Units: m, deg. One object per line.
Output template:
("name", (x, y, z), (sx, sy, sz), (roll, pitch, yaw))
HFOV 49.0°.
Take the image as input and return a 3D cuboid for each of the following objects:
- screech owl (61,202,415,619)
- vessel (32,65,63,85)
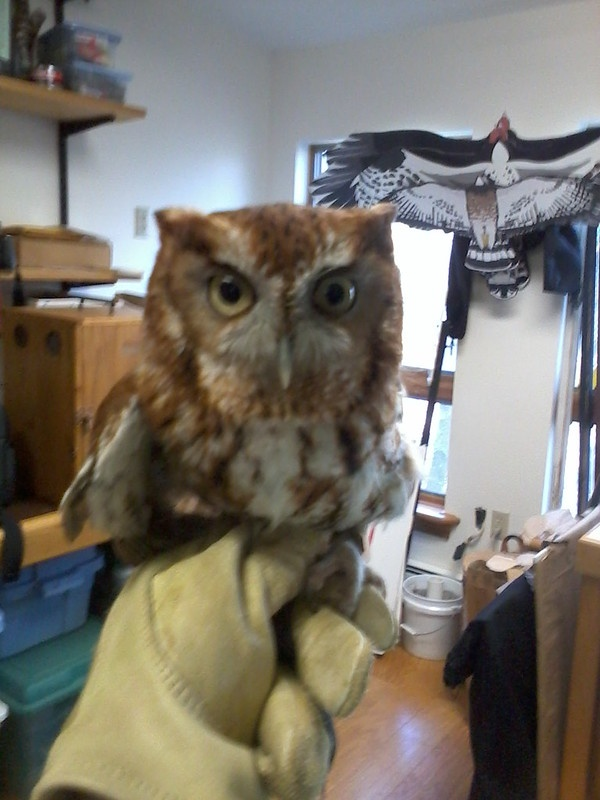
("screech owl", (-0.033, 0.011, 0.384), (0.200, 0.235, 0.171), (0, 12, -19))
("vessel", (-0.191, -0.242, 0.488), (0.022, 0.010, 0.029), (3, 36, -16))
